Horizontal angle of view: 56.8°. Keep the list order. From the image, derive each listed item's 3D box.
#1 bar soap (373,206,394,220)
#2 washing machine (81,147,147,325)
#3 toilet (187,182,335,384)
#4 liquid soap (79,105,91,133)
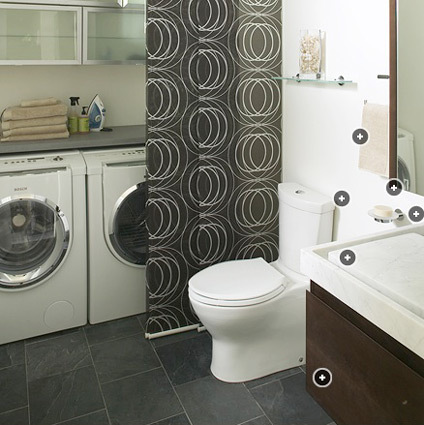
[{"bbox_3d":[0.631,-0.004,1.448,0.082,0.041,0.132,5,18,23],"label":"bar soap"},{"bbox_3d":[-0.590,0.117,2.617,0.576,0.945,0.631,-4,12,-23],"label":"washing machine"},{"bbox_3d":[0.167,0.277,2.069,0.633,1.013,0.619,-4,10,-26],"label":"toilet"},{"bbox_3d":[-0.865,-0.629,2.677,0.070,0.163,0.169,-2,16,1],"label":"liquid soap"}]
